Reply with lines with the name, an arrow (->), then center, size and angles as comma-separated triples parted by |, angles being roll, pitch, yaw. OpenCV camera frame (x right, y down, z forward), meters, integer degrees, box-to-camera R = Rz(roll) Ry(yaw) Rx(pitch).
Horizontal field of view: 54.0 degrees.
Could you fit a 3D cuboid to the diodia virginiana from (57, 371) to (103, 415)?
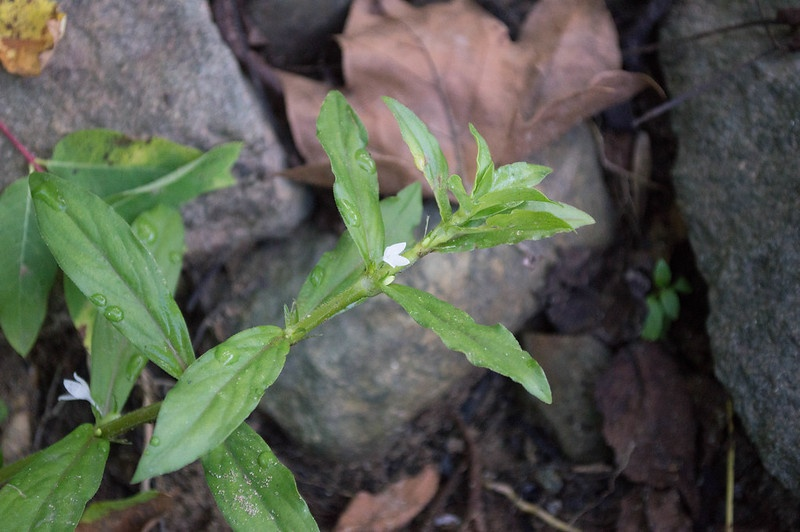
diodia virginiana -> -0.965, 0.377, 2.389 | 0.119, 0.120, 0.134 | 6, 16, -22
